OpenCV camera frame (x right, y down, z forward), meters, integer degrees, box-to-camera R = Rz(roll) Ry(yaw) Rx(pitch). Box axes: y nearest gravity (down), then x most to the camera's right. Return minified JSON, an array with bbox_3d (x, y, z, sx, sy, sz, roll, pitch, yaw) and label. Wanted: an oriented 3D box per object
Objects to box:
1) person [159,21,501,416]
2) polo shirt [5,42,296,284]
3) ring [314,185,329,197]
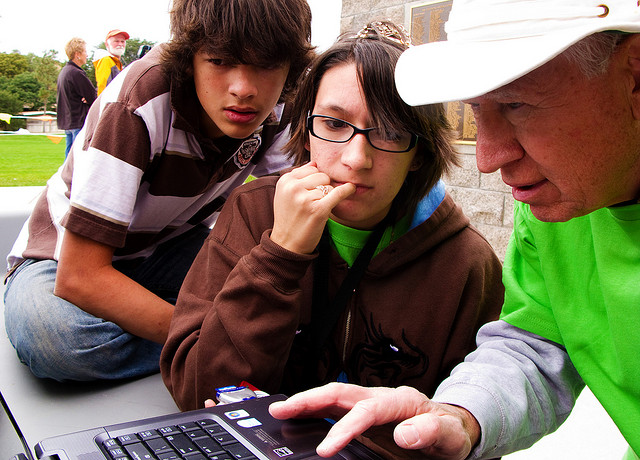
[{"bbox_3d":[0.096,0.163,2.027,1.146,1.567,0.915,5,-1,-5],"label":"person"},{"bbox_3d":[-0.733,-0.351,2.475,1.062,1.032,0.531,-8,15,-44],"label":"polo shirt"},{"bbox_3d":[0.003,-0.140,1.815,0.046,0.034,0.035,9,13,28],"label":"ring"}]
